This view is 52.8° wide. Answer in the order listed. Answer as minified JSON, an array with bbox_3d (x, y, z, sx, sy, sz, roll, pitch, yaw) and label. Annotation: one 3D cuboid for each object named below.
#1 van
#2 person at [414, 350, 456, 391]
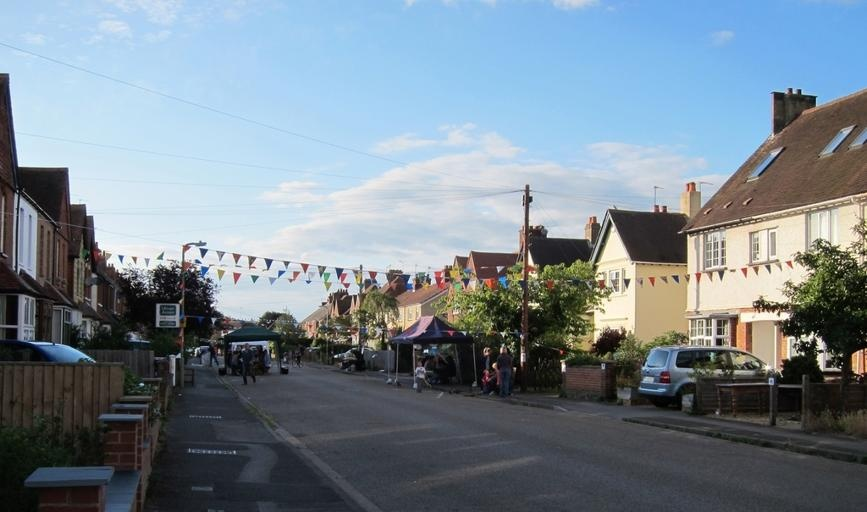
[{"bbox_3d":[9.939,4.159,31.487,3.960,1.657,2.281,-3,0,-11],"label":"van"},{"bbox_3d":[0.089,5.797,44.185,1.258,1.166,2.008,2,-1,8],"label":"person"}]
